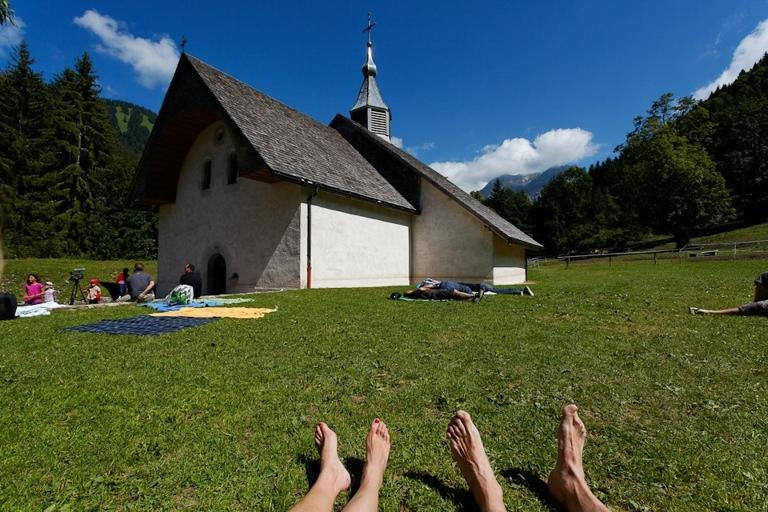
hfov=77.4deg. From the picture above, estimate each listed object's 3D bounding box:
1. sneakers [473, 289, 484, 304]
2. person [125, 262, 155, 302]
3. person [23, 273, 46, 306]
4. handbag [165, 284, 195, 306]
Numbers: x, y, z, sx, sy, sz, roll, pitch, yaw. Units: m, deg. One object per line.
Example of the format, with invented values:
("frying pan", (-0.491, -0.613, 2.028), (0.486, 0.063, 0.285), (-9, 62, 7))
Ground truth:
("sneakers", (2.870, 1.216, 14.565), (0.226, 0.568, 0.200), (22, -14, 12))
("person", (-8.748, 0.943, 17.185), (0.842, 1.354, 1.562), (1, -3, -28))
("person", (-11.847, 1.113, 16.275), (0.531, 1.019, 1.692), (2, -4, -36))
("handbag", (-6.452, 1.197, 15.015), (0.532, 0.782, 0.708), (11, -1, 16))
